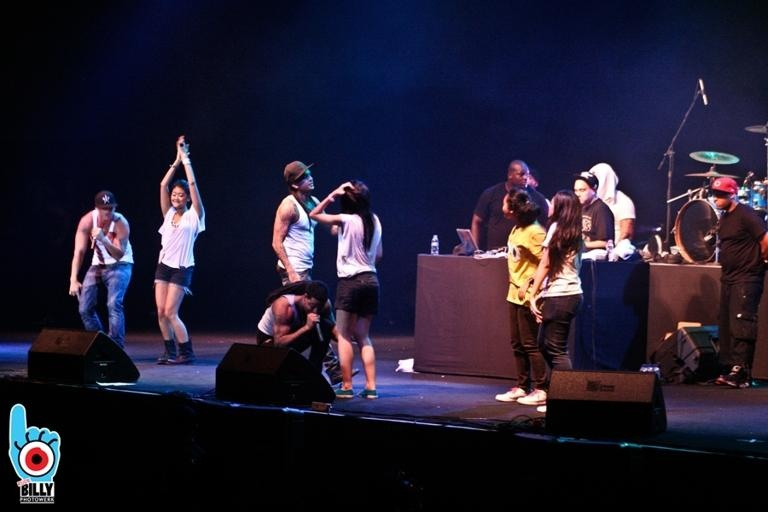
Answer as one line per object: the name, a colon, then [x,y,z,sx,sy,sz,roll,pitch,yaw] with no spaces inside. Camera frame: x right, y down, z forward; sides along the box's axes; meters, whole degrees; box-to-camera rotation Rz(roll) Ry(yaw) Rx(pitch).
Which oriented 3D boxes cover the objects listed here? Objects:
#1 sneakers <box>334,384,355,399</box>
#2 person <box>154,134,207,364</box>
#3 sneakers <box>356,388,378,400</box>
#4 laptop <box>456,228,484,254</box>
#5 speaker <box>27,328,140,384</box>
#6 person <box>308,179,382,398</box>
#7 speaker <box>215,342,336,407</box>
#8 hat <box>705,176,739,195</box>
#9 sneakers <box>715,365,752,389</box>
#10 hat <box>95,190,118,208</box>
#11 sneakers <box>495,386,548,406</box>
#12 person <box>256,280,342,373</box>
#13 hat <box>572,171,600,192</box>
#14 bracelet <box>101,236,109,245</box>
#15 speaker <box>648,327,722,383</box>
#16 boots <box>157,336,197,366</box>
sneakers: [-0.386,1.316,6.158,0.170,0.109,0.196,1,-1,-5]
person: [-2.618,-0.095,8.046,0.565,2.880,0.698,1,0,-25]
sneakers: [-0.145,1.340,6.139,0.078,0.081,0.182,0,0,-40]
laptop: [1.031,-0.180,7.526,0.286,0.281,0.383,-17,9,-26]
speaker: [-3.064,0.857,6.354,0.790,0.454,0.619,1,1,33]
person: [-0.380,0.308,6.338,0.680,1.914,0.554,1,0,-3]
speaker: [-0.970,0.892,5.658,0.778,0.462,0.611,0,1,43]
hat: [3.933,-0.788,7.224,0.367,0.205,0.263,9,4,6]
sneakers: [3.913,1.324,7.010,0.271,0.137,0.270,-2,-8,-11]
hat: [-3.580,-0.715,8.114,0.272,0.223,0.373,-5,10,-32]
sneakers: [1.353,1.363,6.085,0.319,0.104,0.252,9,-16,-26]
person: [-0.872,0.659,6.555,0.718,1.044,0.928,-3,8,-36]
hat: [2.526,-0.922,7.696,0.348,0.181,0.242,29,-1,-13]
bracelet: [-3.481,-0.202,7.866,0.111,0.108,0.218,1,-1,-24]
speaker: [3.470,1.131,7.450,0.468,0.581,0.794,1,0,-16]
boots: [-2.578,1.207,7.877,0.382,0.255,0.328,-10,-15,42]
